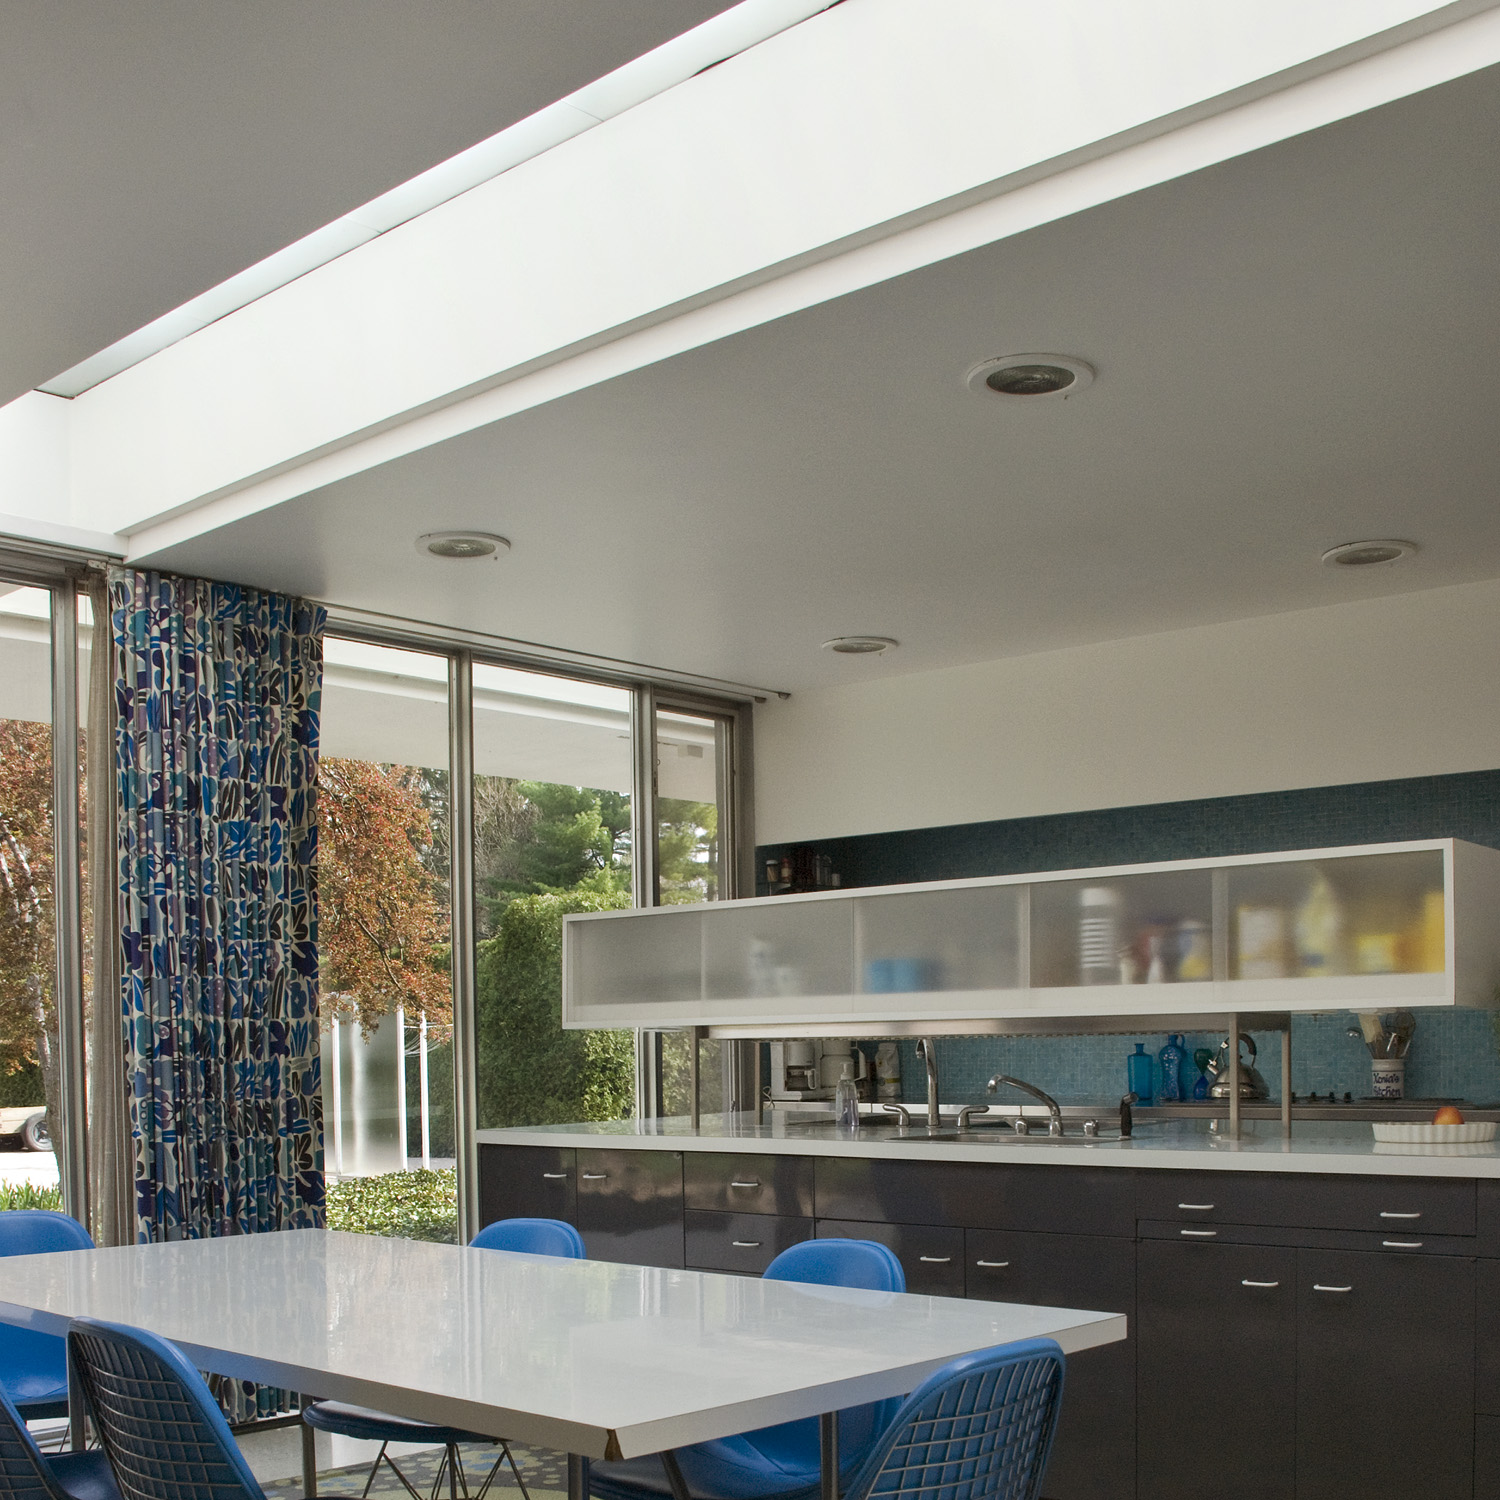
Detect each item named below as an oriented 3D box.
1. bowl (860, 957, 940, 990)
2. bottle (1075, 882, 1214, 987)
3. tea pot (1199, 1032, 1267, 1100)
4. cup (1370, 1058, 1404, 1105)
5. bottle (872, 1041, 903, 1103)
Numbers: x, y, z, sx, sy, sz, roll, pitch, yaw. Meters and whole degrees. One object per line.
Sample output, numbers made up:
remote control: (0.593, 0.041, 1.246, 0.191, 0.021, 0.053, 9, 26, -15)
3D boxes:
bowl: (0.511, 0.746, 5.318, 0.236, 0.143, 0.133, -4, -5, 44)
bottle: (1.165, 0.573, 4.777, 0.424, 0.322, 0.212, -3, -7, 37)
tea pot: (1.730, 1.126, 5.669, 0.218, 0.242, 0.472, -2, -8, 14)
cup: (2.184, 1.119, 5.453, 0.141, 0.127, 0.128, 1, -3, -14)
bottle: (0.598, 1.374, 6.861, 0.130, 0.246, 0.074, 1, -8, -9)
